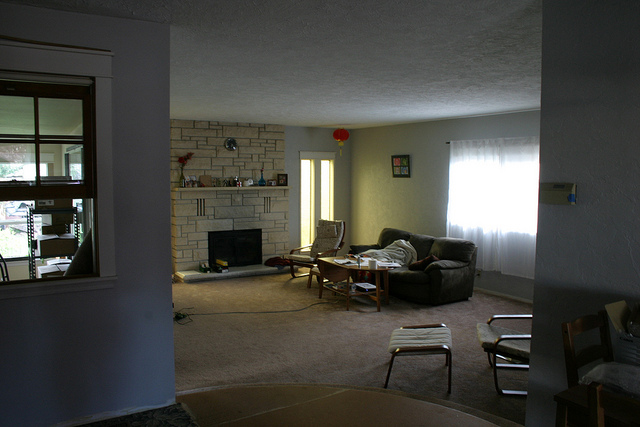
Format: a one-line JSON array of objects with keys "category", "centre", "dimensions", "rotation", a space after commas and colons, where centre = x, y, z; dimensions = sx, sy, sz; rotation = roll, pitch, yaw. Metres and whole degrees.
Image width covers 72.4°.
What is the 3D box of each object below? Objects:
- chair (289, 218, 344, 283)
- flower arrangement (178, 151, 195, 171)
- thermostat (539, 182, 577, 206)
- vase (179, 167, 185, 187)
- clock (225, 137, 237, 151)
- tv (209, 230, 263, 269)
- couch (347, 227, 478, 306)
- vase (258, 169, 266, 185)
[{"category": "chair", "centre": [-0.071, 0.698, 8.208], "dimensions": [0.790, 1.048, 0.985], "rotation": [3, 5, 35]}, {"category": "flower arrangement", "centre": [-2.457, -0.955, 8.008], "dimensions": [0.273, 0.321, 0.146], "rotation": [-2, 9, -19]}, {"category": "thermostat", "centre": [1.734, -0.113, 3.191], "dimensions": [0.164, 0.143, 0.227], "rotation": [0, 1, -36]}, {"category": "vase", "centre": [-2.543, -0.669, 8.009], "dimensions": [0.087, 0.340, 0.113], "rotation": [-3, 9, -22]}, {"category": "clock", "centre": [-1.707, -1.323, 8.361], "dimensions": [0.218, 0.203, 0.052], "rotation": [14, -9, -41]}, {"category": "tv", "centre": [-1.699, 0.700, 8.552], "dimensions": [0.798, 0.501, 0.070], "rotation": [-3, 3, -29]}, {"category": "couch", "centre": [1.572, 0.863, 7.287], "dimensions": [1.172, 0.919, 1.630], "rotation": [-5, 10, -33]}, {"category": "vase", "centre": [-1.151, -0.726, 8.693], "dimensions": [0.113, 0.292, 0.174], "rotation": [1, 9, 5]}]
